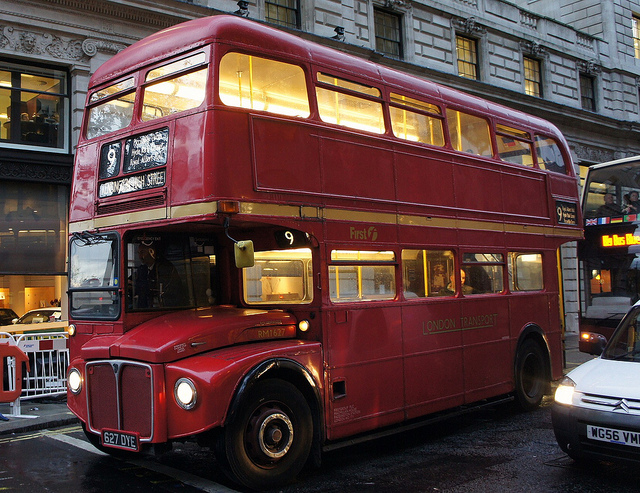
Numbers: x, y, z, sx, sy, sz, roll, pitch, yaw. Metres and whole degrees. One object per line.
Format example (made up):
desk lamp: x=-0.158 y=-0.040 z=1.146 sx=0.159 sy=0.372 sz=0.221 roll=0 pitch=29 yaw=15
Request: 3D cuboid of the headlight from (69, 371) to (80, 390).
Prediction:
headlight: x=-3.266 y=1.790 z=8.294 sx=0.046 sy=0.202 sz=0.191 roll=4 pitch=9 yaw=-43

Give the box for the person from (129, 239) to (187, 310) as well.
person: x=-2.239 y=0.418 z=8.439 sx=0.840 sy=1.307 sz=0.676 roll=1 pitch=-8 yaw=-28

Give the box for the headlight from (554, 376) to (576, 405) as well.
headlight: x=3.075 y=1.808 z=7.800 sx=0.066 sy=0.257 sz=0.250 roll=22 pitch=-5 yaw=-19

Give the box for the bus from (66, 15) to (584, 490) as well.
bus: x=0.002 y=0.285 z=9.207 sx=8.478 sy=4.958 sz=3.739 roll=4 pitch=-6 yaw=-44
